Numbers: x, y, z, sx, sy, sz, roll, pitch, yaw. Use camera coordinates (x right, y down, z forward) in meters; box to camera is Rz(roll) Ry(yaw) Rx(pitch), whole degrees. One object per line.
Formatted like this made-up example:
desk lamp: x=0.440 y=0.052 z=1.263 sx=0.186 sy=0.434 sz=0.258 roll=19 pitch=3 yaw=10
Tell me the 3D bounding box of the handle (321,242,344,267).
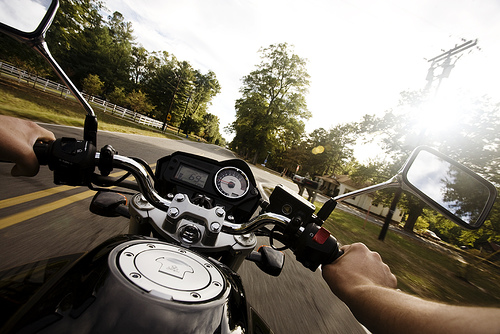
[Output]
handle: x=0.454 y=0.480 z=1.384 sx=0.040 sy=0.128 sz=0.089 roll=45 pitch=-19 yaw=-31
